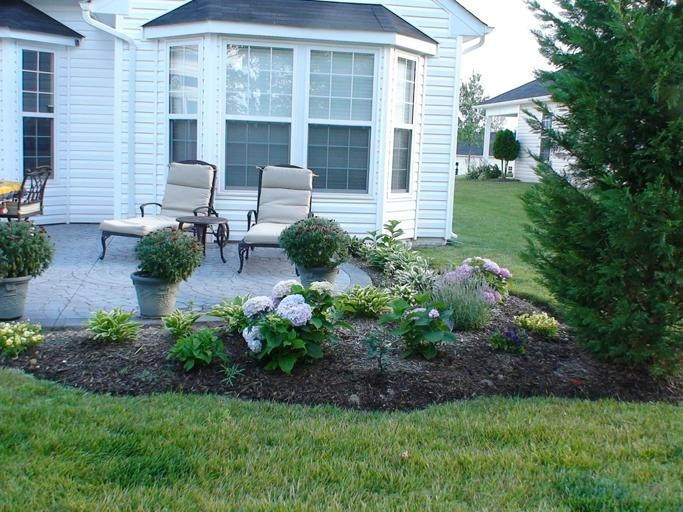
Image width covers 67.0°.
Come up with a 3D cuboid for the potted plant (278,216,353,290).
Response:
[{"bbox_3d":[-0.322,-0.047,6.745,1.008,0.832,0.888,0,2,-3],"label":"potted plant"}]

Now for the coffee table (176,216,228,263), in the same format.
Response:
[{"bbox_3d":[-2.303,-0.237,8.616,0.990,0.652,1.010,3,2,-16],"label":"coffee table"}]
